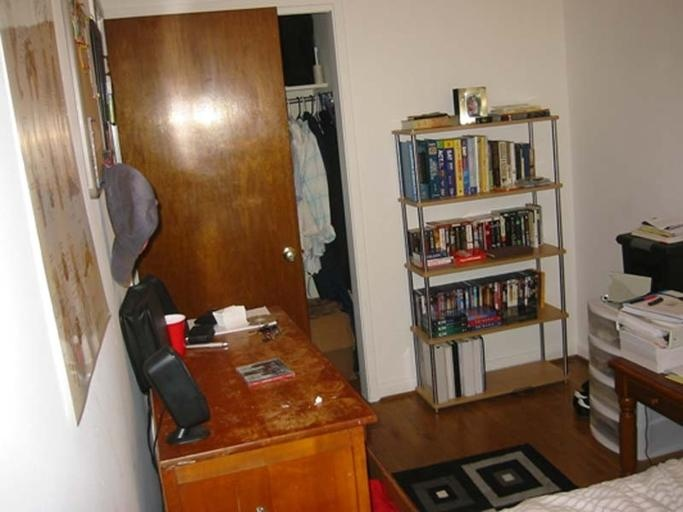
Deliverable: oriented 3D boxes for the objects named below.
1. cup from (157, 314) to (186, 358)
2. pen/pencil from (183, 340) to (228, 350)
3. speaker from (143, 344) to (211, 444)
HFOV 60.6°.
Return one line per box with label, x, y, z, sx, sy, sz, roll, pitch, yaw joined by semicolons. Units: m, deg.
cup;-0.672;0.321;2.377;0.129;0.160;0.156;0;-6;-2
pen/pencil;-0.559;0.359;2.365;0.154;0.025;0.028;-1;-28;2
speaker;-0.492;0.413;1.752;0.160;0.292;0.086;-11;17;-21
